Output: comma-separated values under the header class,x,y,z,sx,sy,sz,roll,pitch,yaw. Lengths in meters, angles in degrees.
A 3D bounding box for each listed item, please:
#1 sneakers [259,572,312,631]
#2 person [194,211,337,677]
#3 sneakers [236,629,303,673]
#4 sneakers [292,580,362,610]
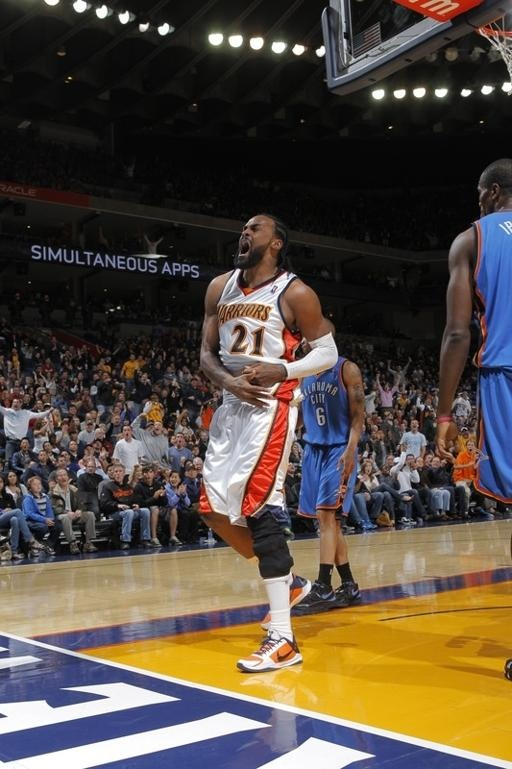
class,x,y,z,sx,sy,sz,roll,pitch,yaw
sneakers,0.174,1.003,3.093,0.148,0.179,0.444,-15,-5,26
person,0.055,0.142,2.770,0.608,1.848,0.733,-3,-2,-5
sneakers,0.062,1.003,2.444,0.265,0.110,0.089,12,-21,-43
sneakers,0.460,1.270,4.028,0.542,0.208,0.172,9,-29,-31
